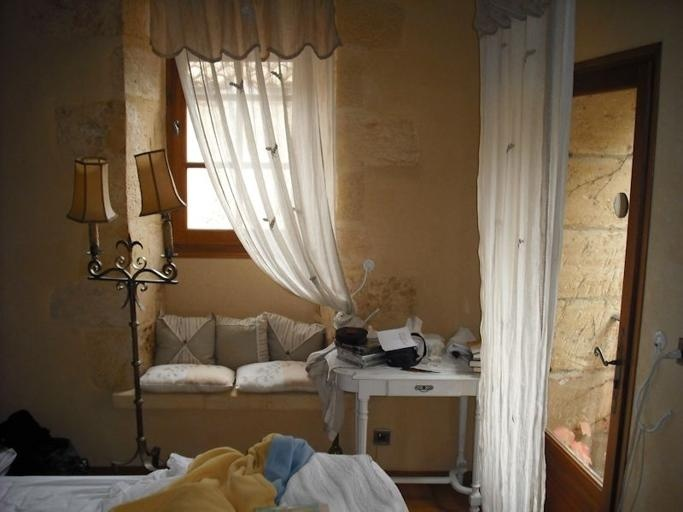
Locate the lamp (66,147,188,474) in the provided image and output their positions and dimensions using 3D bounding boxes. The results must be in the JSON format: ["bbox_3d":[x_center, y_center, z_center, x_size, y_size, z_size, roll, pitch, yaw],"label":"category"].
[{"bbox_3d":[-1.261,0.385,3.629,0.607,2.004,0.886,-2,7,-22],"label":"lamp"}]

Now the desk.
[{"bbox_3d":[0.368,1.212,3.894,1.230,1.074,0.812,0,-8,-2],"label":"desk"}]
